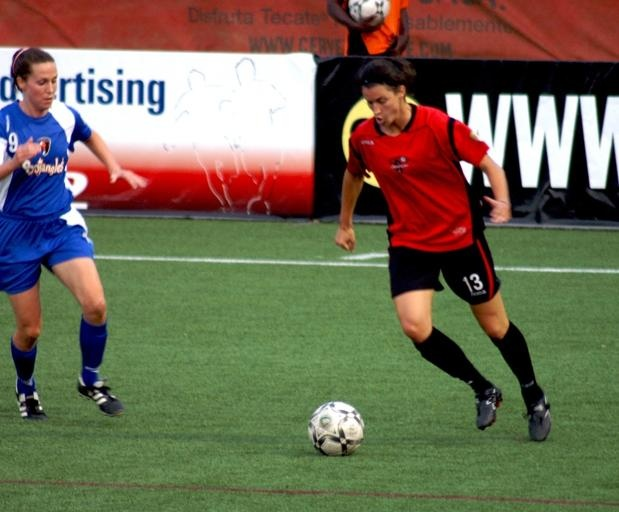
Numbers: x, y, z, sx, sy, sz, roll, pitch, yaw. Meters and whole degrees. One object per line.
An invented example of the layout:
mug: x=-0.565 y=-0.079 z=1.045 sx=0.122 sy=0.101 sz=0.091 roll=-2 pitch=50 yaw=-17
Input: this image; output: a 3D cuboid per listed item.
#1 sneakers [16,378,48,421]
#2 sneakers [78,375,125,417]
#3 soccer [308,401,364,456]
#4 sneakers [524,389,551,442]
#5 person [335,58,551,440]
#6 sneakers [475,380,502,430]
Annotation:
sneakers: x=-1.569 y=0.816 z=5.846 sx=0.103 sy=0.137 sz=0.309 roll=-6 pitch=15 yaw=-25
sneakers: x=-1.195 y=0.789 z=5.922 sx=0.349 sy=0.145 sz=0.127 roll=27 pitch=31 yaw=31
soccer: x=0.137 y=0.895 z=5.381 sx=0.285 sy=0.229 sz=0.182 roll=0 pitch=11 yaw=0
sneakers: x=1.252 y=0.870 z=5.552 sx=0.150 sy=0.217 sz=0.138 roll=-1 pitch=11 yaw=-7
person: x=0.699 y=-0.059 z=5.607 sx=1.278 sy=2.000 sz=0.664 roll=4 pitch=11 yaw=16
sneakers: x=0.962 y=0.811 z=5.679 sx=0.135 sy=0.283 sz=0.095 roll=38 pitch=-34 yaw=-30
